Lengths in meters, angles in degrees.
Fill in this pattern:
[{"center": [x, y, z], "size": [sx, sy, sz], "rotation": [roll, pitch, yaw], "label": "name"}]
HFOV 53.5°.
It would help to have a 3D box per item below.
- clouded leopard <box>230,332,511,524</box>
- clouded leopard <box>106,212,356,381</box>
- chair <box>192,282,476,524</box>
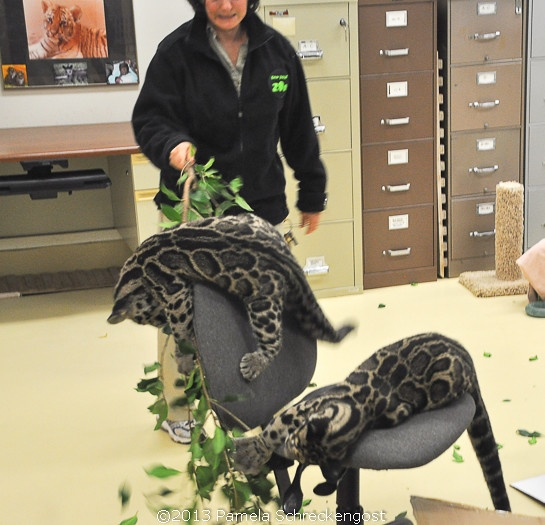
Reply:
[{"center": [0.237, 0.324, 1.047], "size": [0.319, 0.137, 0.376], "rotation": [-15, 36, -14], "label": "clouded leopard"}, {"center": [-0.097, 0.051, 1.034], "size": [0.422, 0.314, 0.237], "rotation": [-6, 35, 6], "label": "clouded leopard"}, {"center": [0.127, 0.223, 1.104], "size": [0.441, 0.556, 0.442], "rotation": [13, 35, 26], "label": "chair"}]
